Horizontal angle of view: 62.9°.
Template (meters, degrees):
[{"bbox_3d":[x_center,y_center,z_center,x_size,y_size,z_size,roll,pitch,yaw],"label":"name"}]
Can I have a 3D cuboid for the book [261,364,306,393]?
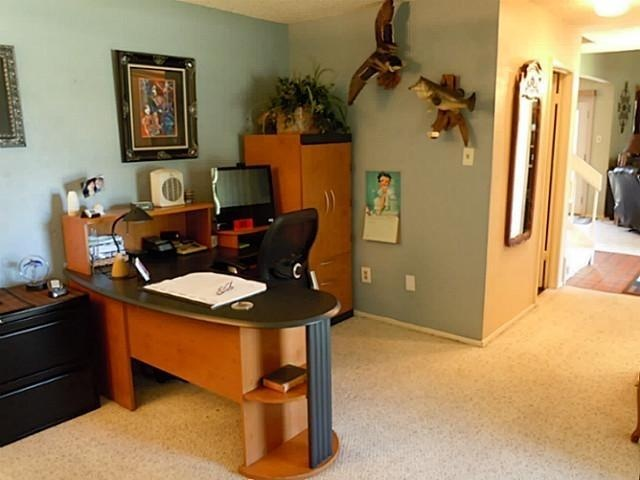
[{"bbox_3d":[-0.196,0.807,3.034,0.241,0.070,0.194,-14,18,-40],"label":"book"}]

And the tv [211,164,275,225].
[{"bbox_3d":[-0.658,-0.372,4.393,0.504,0.501,0.098,-8,7,-35],"label":"tv"}]

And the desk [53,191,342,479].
[{"bbox_3d":[-0.526,0.153,3.100,2.211,1.148,1.078,10,20,32],"label":"desk"}]

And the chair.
[{"bbox_3d":[-0.314,0.217,3.667,0.608,0.929,0.640,0,15,-1],"label":"chair"}]

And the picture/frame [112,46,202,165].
[{"bbox_3d":[-1.308,-1.069,4.111,0.096,1.047,0.886,6,11,39],"label":"picture/frame"}]

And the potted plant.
[{"bbox_3d":[-0.171,-1.252,4.725,0.765,0.606,0.536,7,17,34],"label":"potted plant"}]
